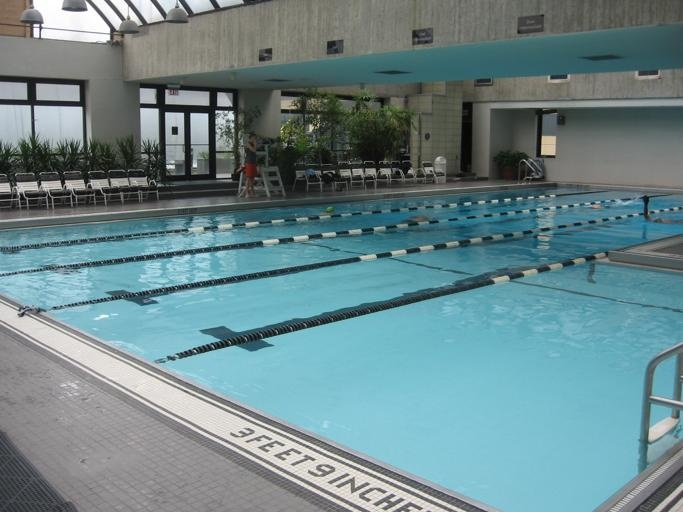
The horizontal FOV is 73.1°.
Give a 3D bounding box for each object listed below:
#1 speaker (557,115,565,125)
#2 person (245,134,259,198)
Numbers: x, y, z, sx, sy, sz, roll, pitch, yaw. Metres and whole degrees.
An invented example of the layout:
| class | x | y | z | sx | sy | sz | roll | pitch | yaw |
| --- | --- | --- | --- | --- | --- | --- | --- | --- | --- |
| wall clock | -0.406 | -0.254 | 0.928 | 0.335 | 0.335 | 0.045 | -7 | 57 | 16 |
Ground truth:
| class | x | y | z | sx | sy | sz | roll | pitch | yaw |
| --- | --- | --- | --- | --- | --- | --- | --- | --- | --- |
| speaker | 11.120 | -6.878 | 23.400 | 0.409 | 0.563 | 0.184 | 3 | 15 | 16 |
| person | -3.052 | -2.957 | 15.426 | 0.343 | 2.006 | 0.543 | -7 | 16 | -23 |
